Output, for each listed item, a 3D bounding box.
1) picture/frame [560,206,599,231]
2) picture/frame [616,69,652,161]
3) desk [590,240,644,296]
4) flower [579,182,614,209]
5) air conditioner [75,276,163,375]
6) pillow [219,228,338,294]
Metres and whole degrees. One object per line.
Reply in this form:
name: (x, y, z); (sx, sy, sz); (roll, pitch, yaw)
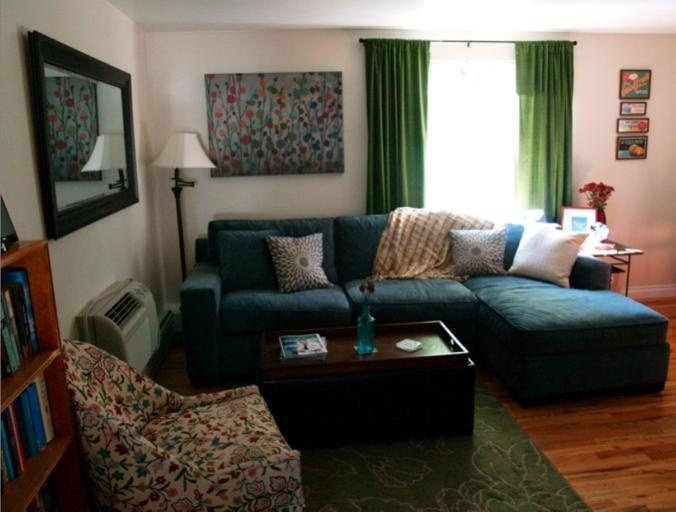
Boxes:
picture/frame: (2.135, -0.334, 4.705); (0.244, 0.212, 0.024); (0, 2, 34)
picture/frame: (2.742, -1.322, 4.960); (0.333, 0.818, 0.122); (-6, 16, -9)
desk: (2.383, 0.076, 4.571); (0.426, 0.410, 0.434); (1, 17, 11)
flower: (2.286, -0.551, 4.769); (0.305, 0.265, 0.308); (1, 1, 5)
air conditioner: (-1.363, 0.425, 3.272); (0.250, 0.503, 0.635); (-2, 16, 0)
pillow: (-0.704, 0.029, 4.048); (0.704, 0.414, 0.188); (-4, -13, -23)
